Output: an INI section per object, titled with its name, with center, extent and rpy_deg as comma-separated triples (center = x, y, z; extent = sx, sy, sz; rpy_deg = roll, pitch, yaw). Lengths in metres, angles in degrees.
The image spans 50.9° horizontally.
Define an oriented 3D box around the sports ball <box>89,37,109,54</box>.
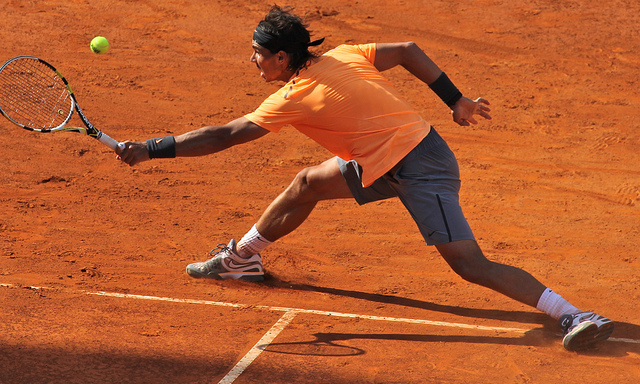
[sports ball]
center = -3.276, -2.154, 9.977
extent = 0.207, 0.274, 0.303
rpy_deg = 24, 21, -16
